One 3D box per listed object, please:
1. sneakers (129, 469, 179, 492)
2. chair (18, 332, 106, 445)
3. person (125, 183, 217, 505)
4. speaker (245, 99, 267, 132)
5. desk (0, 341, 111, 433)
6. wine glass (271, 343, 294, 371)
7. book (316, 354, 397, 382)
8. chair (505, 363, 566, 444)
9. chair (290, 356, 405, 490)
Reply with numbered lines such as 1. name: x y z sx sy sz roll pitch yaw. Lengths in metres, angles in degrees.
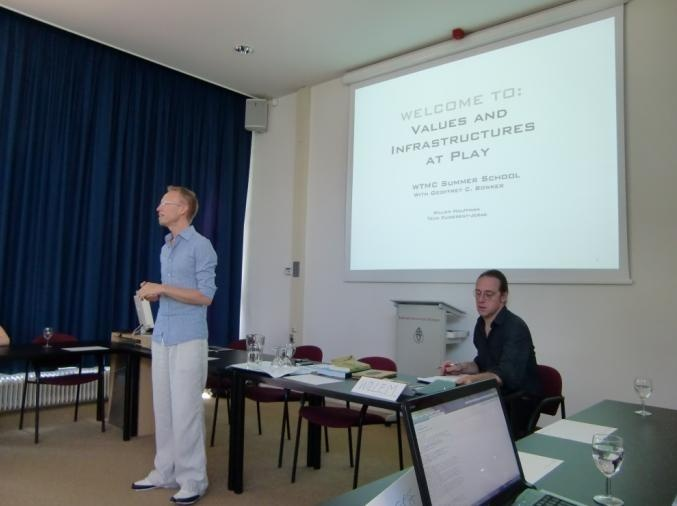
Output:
1. sneakers: -1.326 1.657 3.576 0.344 0.146 0.141 6 -41 -3
2. chair: -2.668 1.289 4.754 0.531 0.812 0.749 -5 -7 35
3. person: -1.154 0.610 3.548 0.515 1.840 0.349 1 -1 4
4. speaker: -1.224 -2.087 7.191 0.315 0.250 0.456 -4 -39 -13
5. desk: -2.595 1.034 4.541 1.095 0.852 0.911 6 -10 -40
6. wine glass: -0.396 0.737 3.566 0.183 0.216 0.127 5 -8 -1
7. book: 0.194 0.830 3.576 0.305 0.098 0.295 3 -5 -44
8. chair: 1.325 1.089 3.524 0.406 0.560 0.413 4 -1 -27
9. chair: 0.077 1.314 3.824 0.706 0.973 0.721 5 -6 -28
